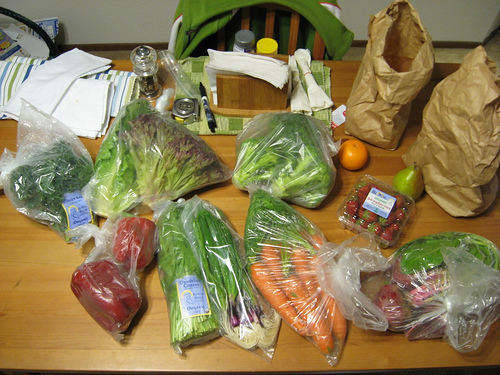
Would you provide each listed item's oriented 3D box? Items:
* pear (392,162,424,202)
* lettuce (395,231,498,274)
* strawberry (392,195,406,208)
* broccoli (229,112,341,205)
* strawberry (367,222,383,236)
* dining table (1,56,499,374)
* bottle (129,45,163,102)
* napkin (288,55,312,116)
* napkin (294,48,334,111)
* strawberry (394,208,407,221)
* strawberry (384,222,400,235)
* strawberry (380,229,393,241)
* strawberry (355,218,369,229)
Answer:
[{"bbox_3d":[0.498,-0.015,1.259,0.063,0.101,0.071,15,46,6],"label":"pear"},{"bbox_3d":[0.545,0.181,1.120,0.269,0.073,0.113,0,37,-6],"label":"lettuce"},{"bbox_3d":[0.452,0.040,1.211,0.032,0.040,0.034,30,74,20],"label":"strawberry"},{"bbox_3d":[0.117,-0.093,1.311,0.280,0.111,0.332,11,77,1],"label":"broccoli"},{"bbox_3d":[0.373,0.122,1.198,0.039,0.036,0.043,9,71,-36],"label":"strawberry"},{"bbox_3d":[-0.034,0.120,1.636,1.689,0.452,1.124,0,69,2],"label":"dining table"},{"bbox_3d":[-0.368,-0.422,1.459,0.098,0.205,0.104,2,40,-2],"label":"bottle"},{"bbox_3d":[0.177,-0.394,1.479,0.083,0.154,0.239,0,37,-5],"label":"napkin"},{"bbox_3d":[0.240,-0.387,1.487,0.088,0.039,0.285,-9,58,-3],"label":"napkin"},{"bbox_3d":[0.452,0.078,1.206,0.030,0.024,0.039,40,65,22],"label":"strawberry"},{"bbox_3d":[0.423,0.122,1.196,0.035,0.024,0.029,-5,11,33],"label":"strawberry"},{"bbox_3d":[0.404,0.139,1.190,0.028,0.039,0.029,-7,7,33],"label":"strawberry"},{"bbox_3d":[0.339,0.106,1.212,0.028,0.017,0.024,35,17,27],"label":"strawberry"}]
